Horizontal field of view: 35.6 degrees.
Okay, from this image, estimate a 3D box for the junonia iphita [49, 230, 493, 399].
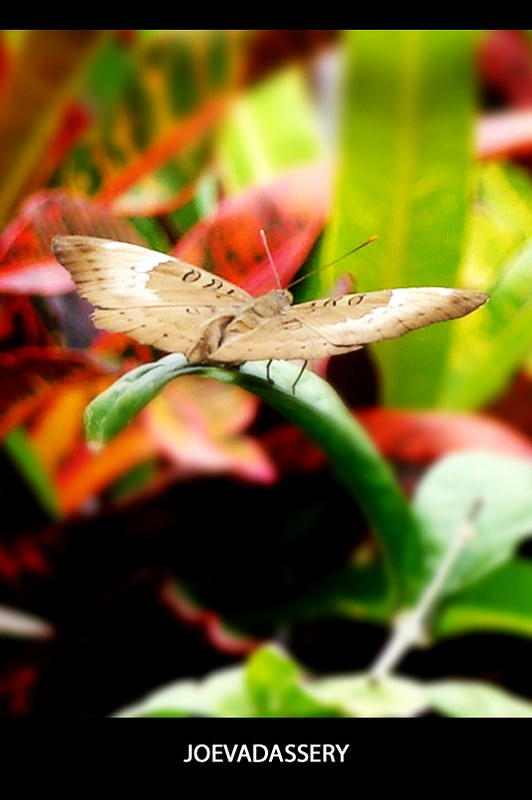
[{"bbox_3d":[-0.013,-0.074,0.674,0.355,0.068,0.105,10,57,12],"label":"junonia iphita"}]
